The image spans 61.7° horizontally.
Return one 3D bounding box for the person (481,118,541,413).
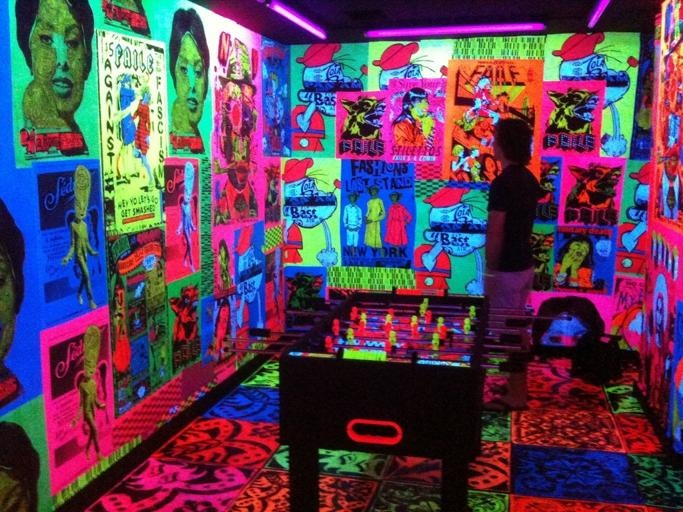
[{"bbox_3d":[1.192,0.103,4.089,0.364,2.146,1.083,3,14,17],"label":"person"}]
